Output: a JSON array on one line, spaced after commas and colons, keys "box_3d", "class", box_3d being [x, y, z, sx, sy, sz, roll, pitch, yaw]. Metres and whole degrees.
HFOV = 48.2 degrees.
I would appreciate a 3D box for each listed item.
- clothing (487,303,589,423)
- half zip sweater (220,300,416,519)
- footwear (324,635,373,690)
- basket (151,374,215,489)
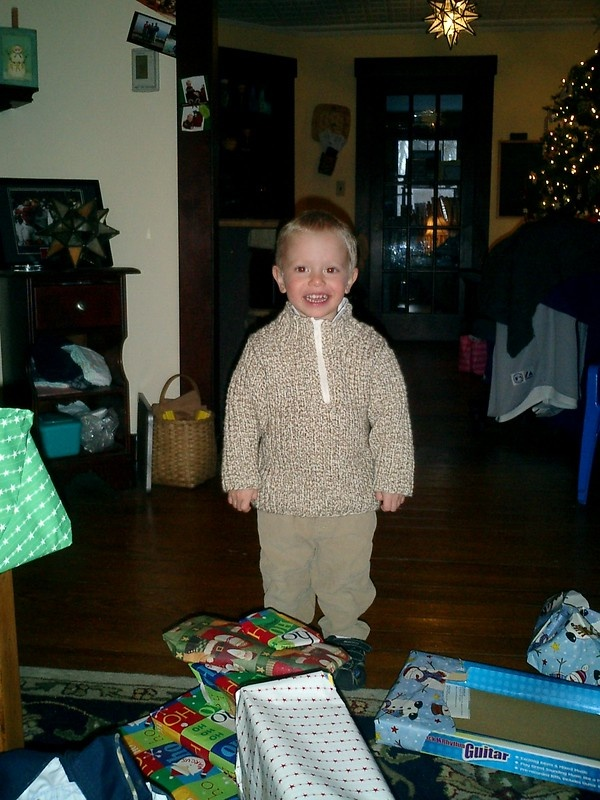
[{"box_3d": [1.128, -0.181, 3.136, 0.108, 0.635, 0.619, -3, 5, -38], "class": "clothing"}, {"box_3d": [0.037, 0.019, 1.404, 0.385, 0.433, 0.136, 1, 11, 2], "class": "half zip sweater"}, {"box_3d": [0.108, 0.535, 1.369, 0.121, 0.036, 0.093, 2, 8, 13], "class": "footwear"}, {"box_3d": [-0.491, 0.123, 2.839, 0.271, 0.468, 0.226, -1, 11, -7], "class": "basket"}]
